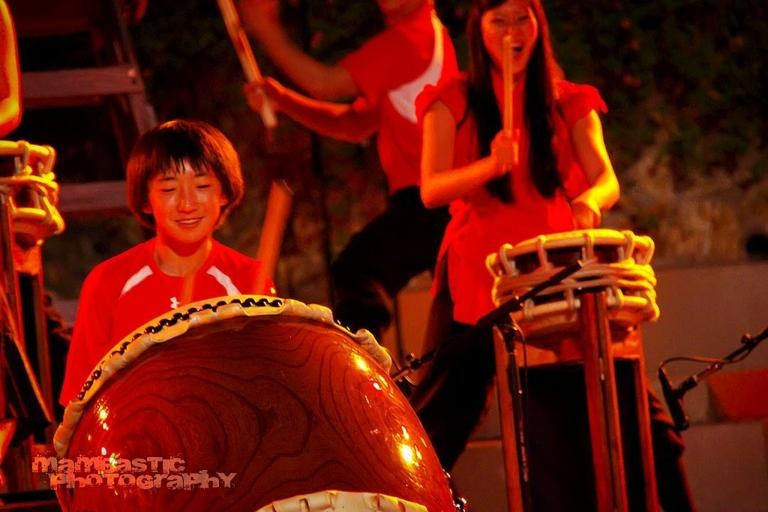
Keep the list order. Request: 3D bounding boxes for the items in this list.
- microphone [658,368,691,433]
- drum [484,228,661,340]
[{"bbox_3d":[0.946,0.475,3.091,0.049,0.183,0.178,-9,-12,1],"label":"microphone"},{"bbox_3d":[0.642,0.062,2.950,0.423,0.251,0.425,5,-2,0],"label":"drum"}]
